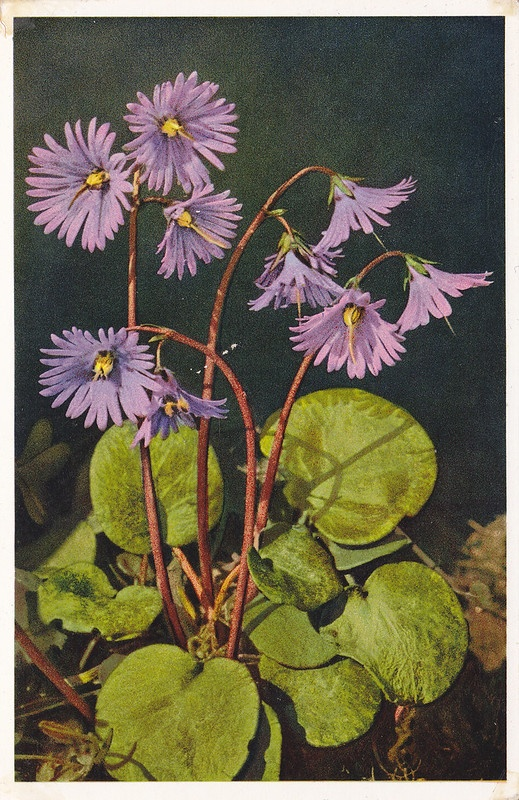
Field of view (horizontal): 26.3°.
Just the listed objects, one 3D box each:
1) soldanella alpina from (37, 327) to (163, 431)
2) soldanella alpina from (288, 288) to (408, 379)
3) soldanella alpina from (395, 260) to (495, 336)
[{"bbox_3d":[-0.279,-0.035,1.902,0.222,0.182,0.067,4,13,23],"label":"soldanella alpina"},{"bbox_3d":[0.158,-0.108,1.929,0.186,0.178,0.175,0,13,8],"label":"soldanella alpina"},{"bbox_3d":[0.306,-0.208,2.006,0.152,0.043,0.169,0,47,-41],"label":"soldanella alpina"}]
